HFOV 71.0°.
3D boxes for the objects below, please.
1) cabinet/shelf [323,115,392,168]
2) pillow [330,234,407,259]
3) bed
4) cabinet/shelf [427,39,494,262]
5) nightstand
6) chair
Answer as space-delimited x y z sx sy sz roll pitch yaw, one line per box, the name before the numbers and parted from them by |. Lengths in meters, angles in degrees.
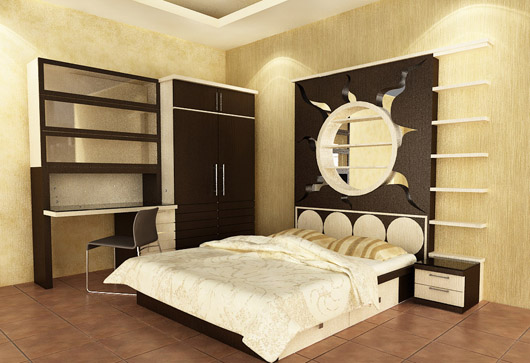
cabinet/shelf | 1.316 -0.594 5.278 0.273 0.499 0.890 0 0 -44
pillow | 1.256 0.757 4.398 0.397 0.166 0.696 -14 5 -24
bed | 0.156 0.931 3.629 1.618 0.313 1.541 0 0 45
cabinet/shelf | 2.219 -0.356 4.224 0.697 2.407 0.565 4 10 23
nightstand | 2.043 1.079 4.154 0.585 0.443 0.554 -1 2 -43
chair | -1.780 0.826 4.739 0.926 0.943 0.789 0 1 -7
